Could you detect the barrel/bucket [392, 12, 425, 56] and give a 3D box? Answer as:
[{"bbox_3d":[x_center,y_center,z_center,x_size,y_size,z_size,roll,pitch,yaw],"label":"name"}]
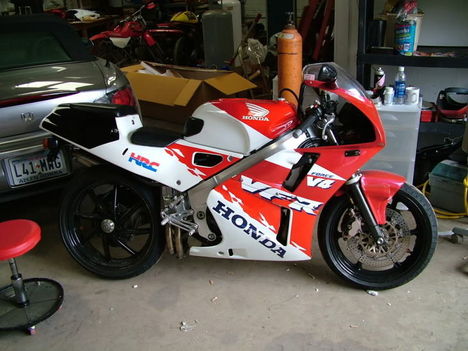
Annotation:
[{"bbox_3d":[1.623,-1.327,3.192,0.230,0.359,0.206,9,27,20],"label":"barrel/bucket"}]
